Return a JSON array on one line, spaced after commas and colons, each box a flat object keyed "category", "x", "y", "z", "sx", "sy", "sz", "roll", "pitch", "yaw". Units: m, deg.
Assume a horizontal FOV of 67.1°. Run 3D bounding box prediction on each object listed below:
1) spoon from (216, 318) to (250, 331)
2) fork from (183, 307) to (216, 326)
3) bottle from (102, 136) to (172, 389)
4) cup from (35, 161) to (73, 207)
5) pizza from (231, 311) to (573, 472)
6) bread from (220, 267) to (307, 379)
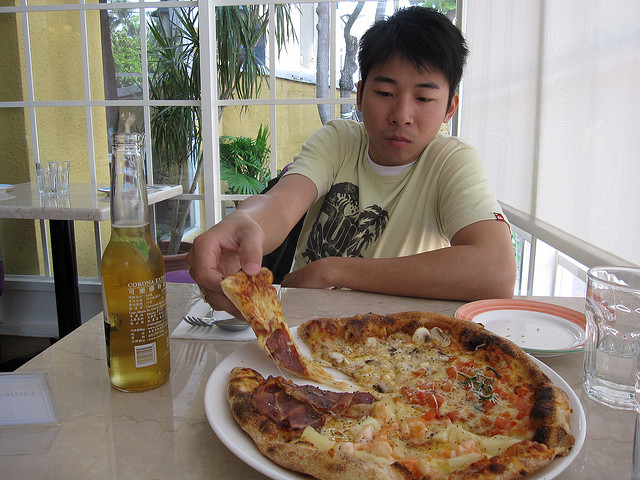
[{"category": "spoon", "x": -0.233, "y": 0.210, "z": 1.226, "sx": 0.064, "sy": 0.015, "sz": 0.052, "roll": 1, "pitch": 17, "yaw": -9}, {"category": "fork", "x": -0.302, "y": 0.205, "z": 1.266, "sx": 0.091, "sy": 0.025, "sz": 0.083, "roll": 12, "pitch": 13, "yaw": 43}, {"category": "bottle", "x": -0.359, "y": 0.064, "z": 0.930, "sx": 0.120, "sy": 0.515, "sz": 0.085, "roll": 1, "pitch": 10, "yaw": -8}, {"category": "cup", "x": -1.546, "y": -0.358, "z": 2.806, "sx": 0.126, "sy": 0.214, "sz": 0.133, "roll": 5, "pitch": 12, "yaw": -1}, {"category": "pizza", "x": 0.140, "y": 0.277, "z": 0.959, "sx": 0.622, "sy": 0.135, "sz": 0.494, "roll": 1, "pitch": 10, "yaw": -12}, {"category": "bread", "x": -0.162, "y": 0.165, "z": 1.063, "sx": 0.099, "sy": 0.069, "sz": 0.309, "roll": -19, "pitch": 67, "yaw": -49}]
